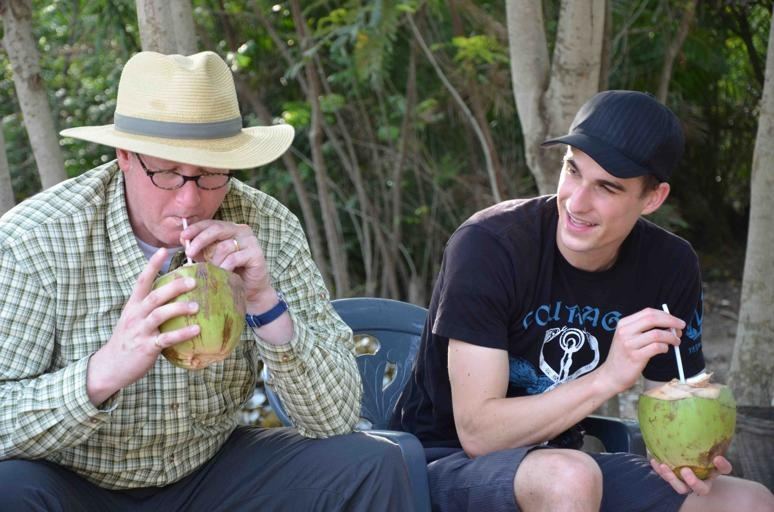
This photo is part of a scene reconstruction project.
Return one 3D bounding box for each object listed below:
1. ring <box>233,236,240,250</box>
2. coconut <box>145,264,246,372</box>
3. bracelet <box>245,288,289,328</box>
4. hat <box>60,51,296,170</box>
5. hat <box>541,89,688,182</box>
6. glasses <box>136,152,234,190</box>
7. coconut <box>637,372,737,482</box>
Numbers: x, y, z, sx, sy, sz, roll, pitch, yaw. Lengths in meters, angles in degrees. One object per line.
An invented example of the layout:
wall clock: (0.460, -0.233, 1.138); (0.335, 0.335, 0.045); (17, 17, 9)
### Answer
ring: (-0.622, -0.050, 3.321); (0.012, 0.040, 0.040); (-19, 9, -1)
coconut: (-0.768, 0.273, 3.263); (0.391, 0.400, 0.449); (-1, -12, -25)
bracelet: (-0.515, 0.244, 3.425); (0.143, 0.055, 0.144); (-36, 5, -38)
hat: (-0.836, -0.600, 3.278); (0.646, 0.292, 0.628); (11, 10, 41)
hat: (1.046, -0.566, 3.566); (0.535, 0.300, 0.383); (22, 11, -36)
glasses: (-0.834, -0.348, 3.276); (0.360, 0.166, 0.093); (-7, 13, -17)
coconut: (1.293, 0.737, 3.415); (0.381, 0.451, 0.404); (-5, 1, -1)
